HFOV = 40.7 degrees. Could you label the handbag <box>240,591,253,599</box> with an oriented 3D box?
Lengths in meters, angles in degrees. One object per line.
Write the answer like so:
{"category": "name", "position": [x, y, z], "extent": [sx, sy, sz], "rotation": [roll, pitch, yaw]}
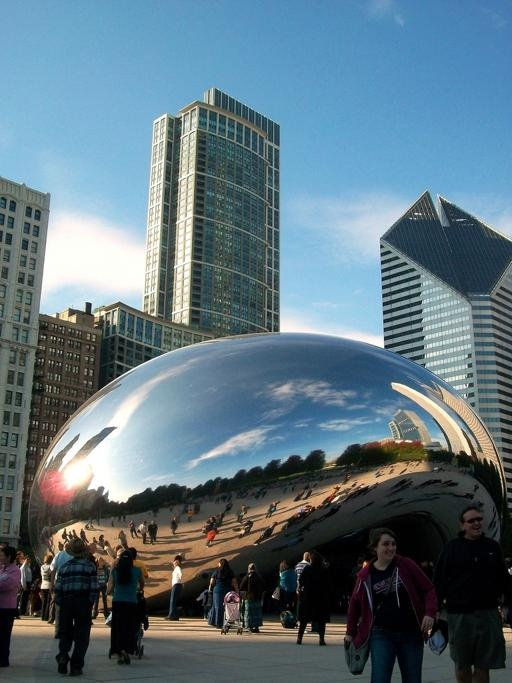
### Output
{"category": "handbag", "position": [-0.167, 4.024, 11.060], "extent": [0.159, 0.128, 0.141], "rotation": [-11, -5, 6]}

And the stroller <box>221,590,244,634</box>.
{"category": "stroller", "position": [-0.365, 4.230, 10.876], "extent": [0.477, 0.621, 0.462], "rotation": [-12, -26, 28]}

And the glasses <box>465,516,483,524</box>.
{"category": "glasses", "position": [1.535, 1.231, 4.794], "extent": [0.132, 0.039, 0.058], "rotation": [-2, 0, -28]}

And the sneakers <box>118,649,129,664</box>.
{"category": "sneakers", "position": [-1.337, 3.154, 6.945], "extent": [0.067, 0.075, 0.175], "rotation": [3, -45, -5]}

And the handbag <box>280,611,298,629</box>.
{"category": "handbag", "position": [0.577, 4.849, 12.143], "extent": [0.325, 0.237, 0.342], "rotation": [-2, 3, 0]}

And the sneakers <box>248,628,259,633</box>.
{"category": "sneakers", "position": [-0.049, 4.656, 11.217], "extent": [0.122, 0.057, 0.149], "rotation": [1, -32, -1]}
